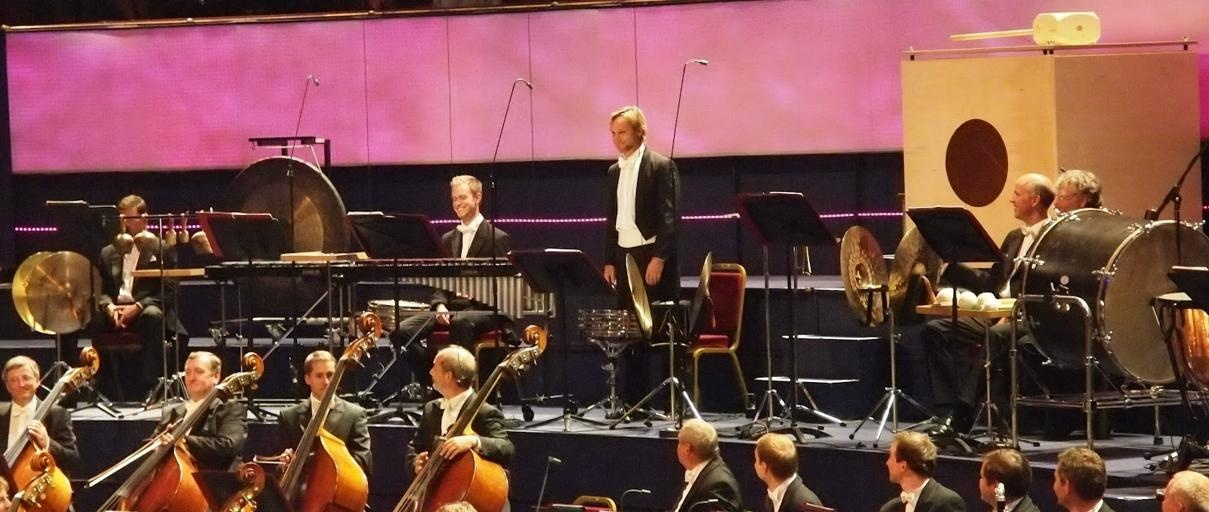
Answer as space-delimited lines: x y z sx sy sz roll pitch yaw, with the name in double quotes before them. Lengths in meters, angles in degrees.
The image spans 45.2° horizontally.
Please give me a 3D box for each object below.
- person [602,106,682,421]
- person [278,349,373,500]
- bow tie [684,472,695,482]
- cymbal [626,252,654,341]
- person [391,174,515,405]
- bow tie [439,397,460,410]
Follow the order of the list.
"person" 0.515 -0.678 20.160 1.027 2.680 0.556 -1 -2 2
"person" -3.714 2.165 19.498 1.033 1.759 0.672 -6 -8 25
"bow tie" 1.117 2.842 18.701 0.166 0.108 0.133 1 -3 -45
"cymbal" 0.472 0.559 19.778 0.357 1.114 0.606 -1 -2 2
"person" -2.086 0.132 20.872 1.110 2.278 1.351 -11 -18 26
"bow tie" -2.037 1.959 19.260 0.246 0.140 0.164 -1 -12 15
